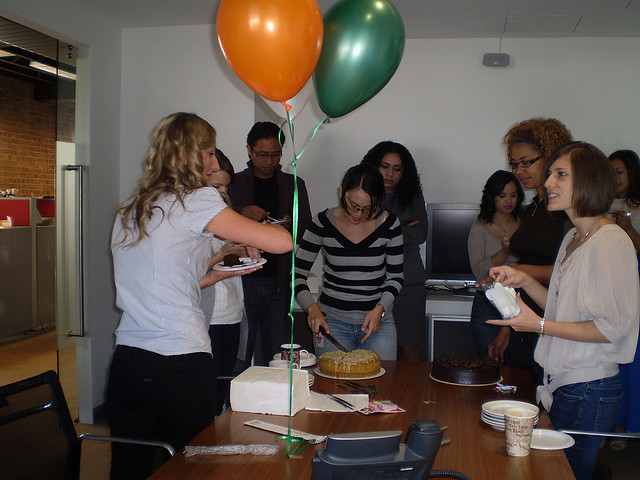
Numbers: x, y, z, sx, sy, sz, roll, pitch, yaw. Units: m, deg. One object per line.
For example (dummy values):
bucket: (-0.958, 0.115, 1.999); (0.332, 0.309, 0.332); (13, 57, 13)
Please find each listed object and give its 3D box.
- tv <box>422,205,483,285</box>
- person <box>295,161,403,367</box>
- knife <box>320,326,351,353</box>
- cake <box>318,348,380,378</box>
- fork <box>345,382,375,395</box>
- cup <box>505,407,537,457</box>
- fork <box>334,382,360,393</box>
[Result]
tv: (1.025, 0.024, 3.882); (0.568, 0.713, 0.067); (1, 1, 6)
person: (0.161, 0.120, 2.834); (0.600, 1.077, 0.510); (3, 8, 9)
knife: (0.079, 0.532, 2.708); (0.022, 0.202, 0.029); (-21, 30, 34)
cake: (0.140, 0.570, 2.351); (0.277, 0.082, 0.167); (2, 8, 3)
fork: (0.180, 0.632, 2.178); (0.028, 0.014, 0.094); (27, -5, -33)
cup: (0.667, 0.645, 1.730); (0.104, 0.135, 0.110); (1, 4, 0)
fork: (0.122, 0.627, 2.194); (0.028, 0.009, 0.108); (-16, 11, -25)
